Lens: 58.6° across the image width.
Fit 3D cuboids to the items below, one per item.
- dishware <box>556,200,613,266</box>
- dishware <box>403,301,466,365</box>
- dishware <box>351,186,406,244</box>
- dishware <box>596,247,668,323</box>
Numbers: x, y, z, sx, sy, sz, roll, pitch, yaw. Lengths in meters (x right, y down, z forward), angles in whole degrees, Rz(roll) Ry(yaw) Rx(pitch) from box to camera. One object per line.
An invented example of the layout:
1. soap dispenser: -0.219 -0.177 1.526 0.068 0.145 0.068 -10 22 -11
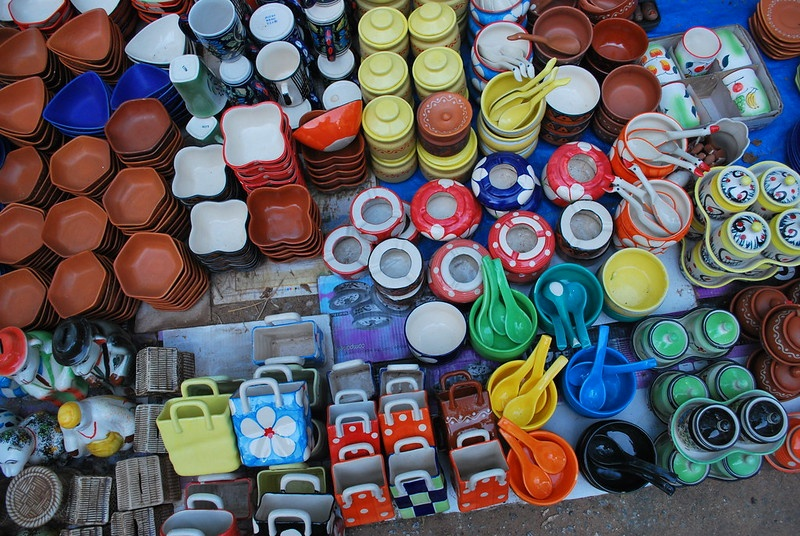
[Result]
1. dishware: 1.127 -0.226 4.417 0.329 0.202 0.372 22 83 5
2. dishware: 0.213 0.369 4.264 0.367 0.110 0.353 -28 82 -2
3. dishware: -0.134 -0.328 4.430 0.338 0.162 0.336 -13 82 0
4. dishware: 1.382 0.082 4.252 0.382 0.118 0.393 -32 83 -3
